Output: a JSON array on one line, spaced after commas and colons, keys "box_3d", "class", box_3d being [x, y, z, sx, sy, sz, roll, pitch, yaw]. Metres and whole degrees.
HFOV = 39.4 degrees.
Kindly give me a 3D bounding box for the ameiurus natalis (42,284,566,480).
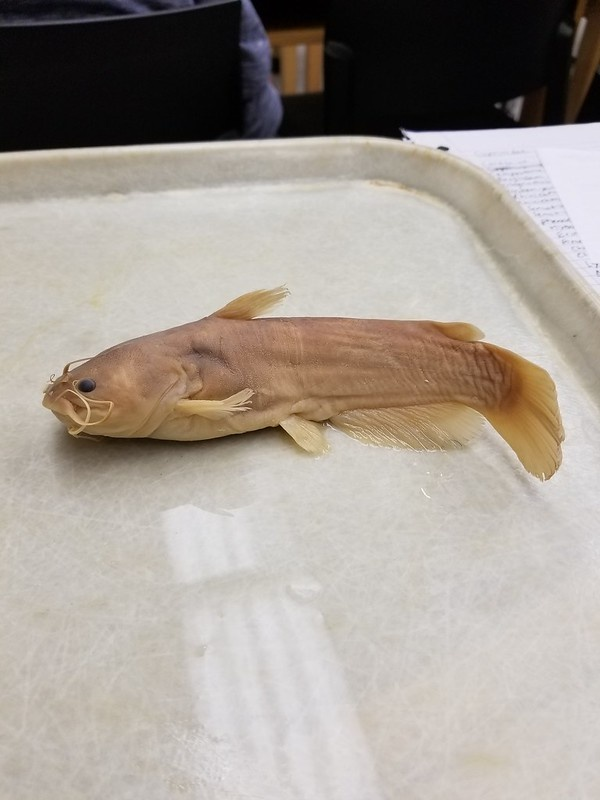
[{"box_3d": [-0.010, -0.012, 1.010, 0.679, 0.194, 0.164, -2, -6, 31], "class": "ameiurus natalis"}]
